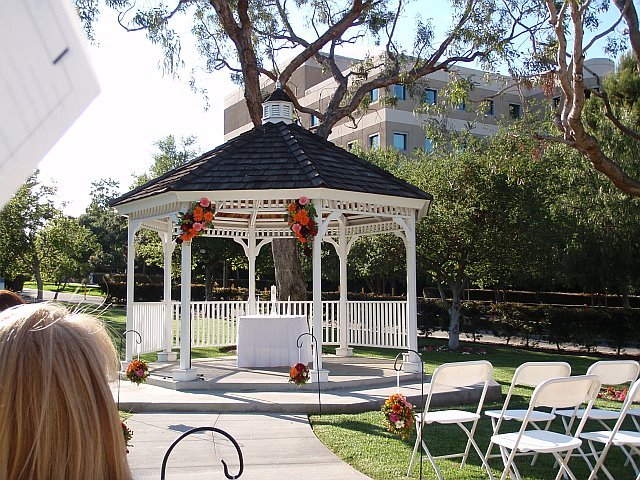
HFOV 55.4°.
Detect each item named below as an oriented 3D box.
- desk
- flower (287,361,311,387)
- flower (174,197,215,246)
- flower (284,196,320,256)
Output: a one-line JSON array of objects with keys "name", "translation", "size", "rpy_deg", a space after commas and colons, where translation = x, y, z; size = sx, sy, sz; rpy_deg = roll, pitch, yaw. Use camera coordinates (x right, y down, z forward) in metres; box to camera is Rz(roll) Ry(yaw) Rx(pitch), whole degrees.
[{"name": "desk", "translation": [-0.860, 1.856, 11.194], "size": [1.399, 1.044, 1.513], "rpy_deg": [-1, -2, 26]}, {"name": "flower", "translation": [-0.282, 1.760, 8.096], "size": [0.294, 0.363, 0.149], "rpy_deg": [4, -5, -7]}, {"name": "flower", "translation": [-1.981, -0.201, 9.525], "size": [0.458, 0.250, 0.571], "rpy_deg": [-6, -21, 22]}, {"name": "flower", "translation": [-0.295, -0.310, 9.084], "size": [0.441, 0.457, 0.790], "rpy_deg": [11, 18, 14]}]
